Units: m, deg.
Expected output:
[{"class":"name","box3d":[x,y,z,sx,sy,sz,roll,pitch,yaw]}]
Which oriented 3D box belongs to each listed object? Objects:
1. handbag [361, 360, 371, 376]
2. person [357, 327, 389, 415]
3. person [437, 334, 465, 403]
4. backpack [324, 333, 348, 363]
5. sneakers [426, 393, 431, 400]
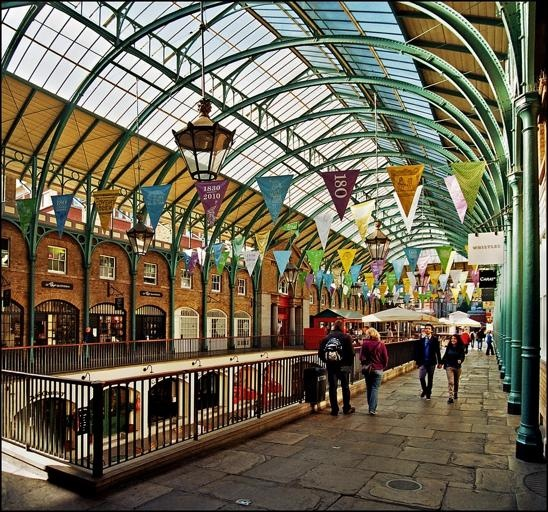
[{"class":"handbag","box3d":[2.064,2.473,11.778,0.143,0.312,0.311,12,-17,-23]},{"class":"person","box3d":[2.252,2.576,11.964,0.570,1.875,0.911,2,-4,10]},{"class":"person","box3d":[4.616,2.856,13.717,0.521,1.738,1.381,1,-4,18]},{"class":"backpack","box3d":[1.310,2.021,11.803,0.613,0.912,0.496,0,-17,7]},{"class":"sneakers","box3d":[4.022,3.646,13.774,0.097,0.103,0.184,1,23,5]}]
